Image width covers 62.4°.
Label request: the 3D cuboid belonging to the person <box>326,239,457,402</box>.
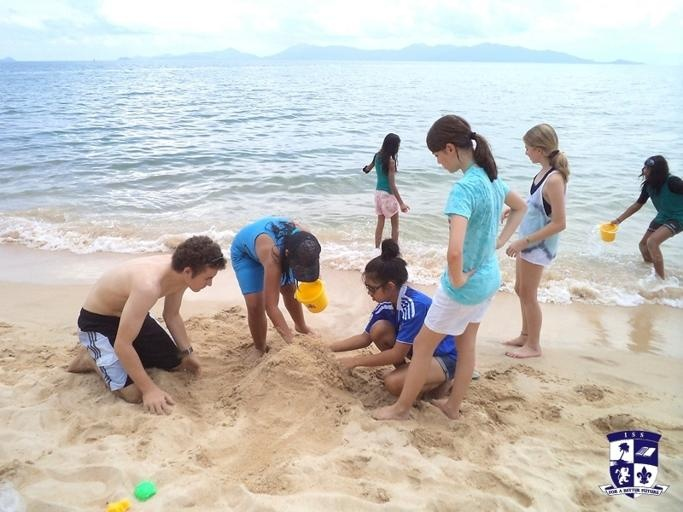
[{"bbox_3d":[0.456,0.487,5.286,1.536,1.672,0.902,-1,20,-4],"label":"person"}]

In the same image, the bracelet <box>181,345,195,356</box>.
[{"bbox_3d":[-1.463,0.897,5.371,0.100,0.059,0.096,-5,-6,0],"label":"bracelet"}]

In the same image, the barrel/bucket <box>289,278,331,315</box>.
[{"bbox_3d":[-0.278,0.351,5.254,0.316,0.235,0.292,-7,58,12],"label":"barrel/bucket"}]

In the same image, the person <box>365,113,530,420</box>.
[{"bbox_3d":[0.882,0.172,4.525,0.697,2.464,1.286,14,28,30],"label":"person"}]

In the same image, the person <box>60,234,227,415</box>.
[{"bbox_3d":[-1.845,0.514,5.199,1.315,1.552,1.088,16,11,21],"label":"person"}]
